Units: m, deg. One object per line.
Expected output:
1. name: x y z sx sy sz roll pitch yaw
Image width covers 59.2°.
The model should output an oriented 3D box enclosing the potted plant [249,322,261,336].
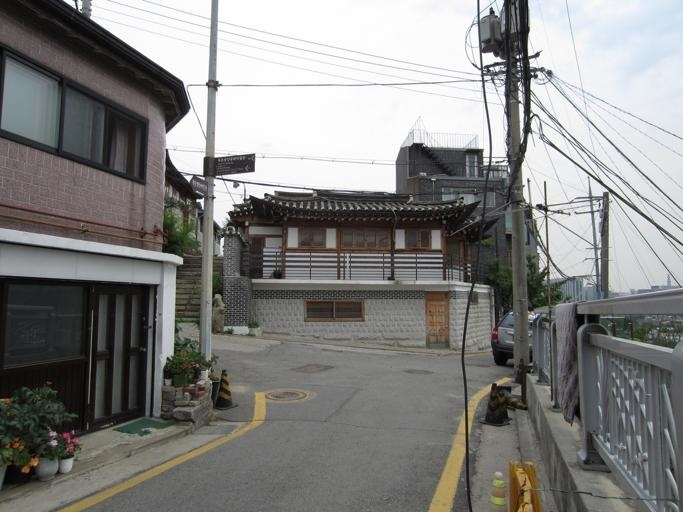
1. potted plant: -3.609 3.069 25.130 0.381 0.496 0.448 0 -4 -3

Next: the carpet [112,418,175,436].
1. carpet: -3.504 3.030 10.693 0.694 0.082 1.002 0 1 22

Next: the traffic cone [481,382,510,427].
1. traffic cone: 3.076 2.869 11.632 0.626 0.843 0.699 -6 -10 37

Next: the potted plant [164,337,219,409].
1. potted plant: -2.960 2.446 11.822 0.817 1.246 1.386 0 2 -1

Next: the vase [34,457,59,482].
1. vase: -4.234 3.070 8.653 0.254 0.292 0.314 2 -2 -11
